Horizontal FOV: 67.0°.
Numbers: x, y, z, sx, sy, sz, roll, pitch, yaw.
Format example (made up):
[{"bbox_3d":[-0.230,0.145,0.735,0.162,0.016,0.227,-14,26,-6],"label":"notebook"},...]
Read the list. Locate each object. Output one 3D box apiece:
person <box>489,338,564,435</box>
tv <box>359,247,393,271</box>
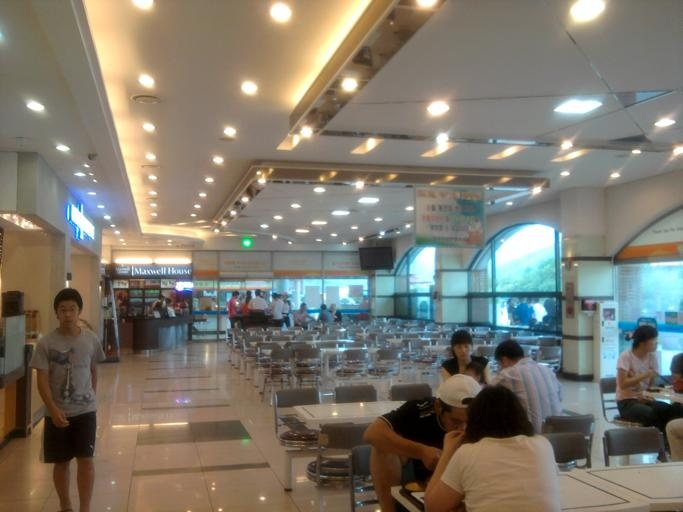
[{"bbox_3d":[1.653,1.424,4.758,0.587,1.176,0.499,-5,-23,28],"label":"person"},{"bbox_3d":[1.445,0.127,20.747,1.493,1.141,0.833,-1,-7,11],"label":"tv"}]
